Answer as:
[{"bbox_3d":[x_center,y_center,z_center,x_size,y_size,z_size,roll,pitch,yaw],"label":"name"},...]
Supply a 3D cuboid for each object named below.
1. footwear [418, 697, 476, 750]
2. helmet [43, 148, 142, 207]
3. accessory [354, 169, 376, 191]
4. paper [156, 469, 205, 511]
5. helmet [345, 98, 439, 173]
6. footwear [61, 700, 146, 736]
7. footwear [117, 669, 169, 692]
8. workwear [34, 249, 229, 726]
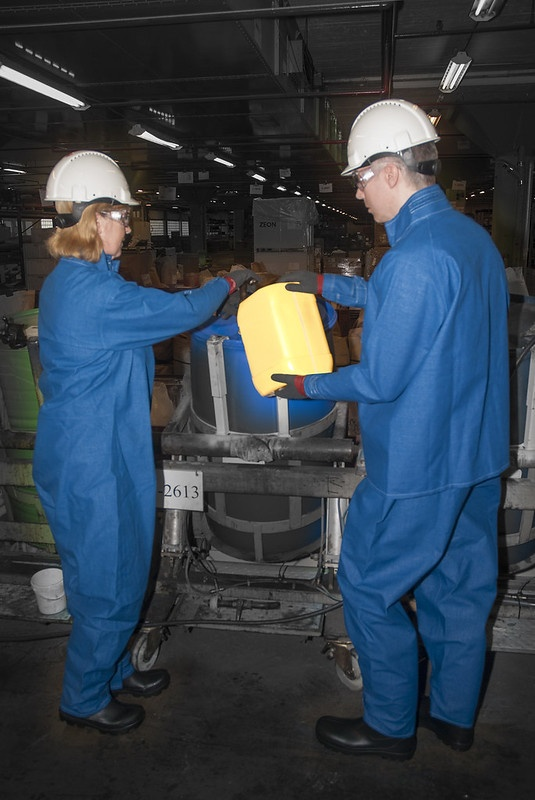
[{"bbox_3d":[0.616,1.118,2.323,0.079,0.093,0.220,-11,25,-26],"label":"footwear"},{"bbox_3d":[-0.573,-0.739,2.216,0.285,0.145,0.211,-22,40,-34],"label":"helmet"},{"bbox_3d":[0.287,-0.666,2.007,0.020,0.042,0.041,-23,45,-8],"label":"accessory"},{"bbox_3d":[-0.363,0.374,2.773,0.212,0.161,0.029,1,10,14],"label":"paper"},{"bbox_3d":[0.357,-0.805,2.000,0.312,0.175,0.228,4,30,38],"label":"helmet"},{"bbox_3d":[-0.596,1.120,2.366,0.253,0.099,0.122,1,3,-7],"label":"footwear"},{"bbox_3d":[-0.468,1.086,2.539,0.193,0.081,0.074,-7,19,-6],"label":"footwear"},{"bbox_3d":[-0.498,0.301,2.295,0.580,1.565,0.373,-6,16,-18],"label":"workwear"}]
